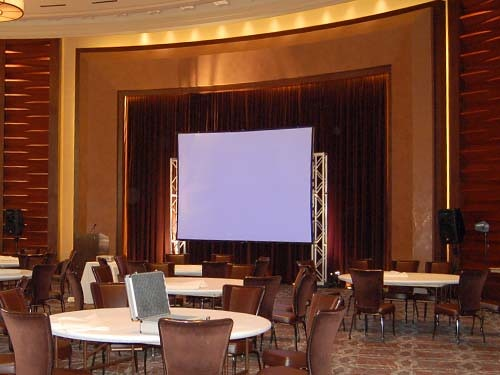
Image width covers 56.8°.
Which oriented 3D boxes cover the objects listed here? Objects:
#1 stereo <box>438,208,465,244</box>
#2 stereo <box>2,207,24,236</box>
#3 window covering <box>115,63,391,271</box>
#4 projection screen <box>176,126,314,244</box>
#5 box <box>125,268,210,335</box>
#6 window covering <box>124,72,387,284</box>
[{"bbox_3d":[3.947,0.765,9.052,0.479,0.724,0.406,2,3,16],"label":"stereo"},{"bbox_3d":[-5.989,0.894,11.754,0.441,0.685,0.239,2,3,20],"label":"stereo"},{"bbox_3d":[0.300,-0.620,11.382,5.275,3.955,0.241,-1,-3,14],"label":"window covering"},{"bbox_3d":[-0.204,-0.029,11.123,3.442,2.761,0.071,0,-1,17],"label":"projection screen"},{"bbox_3d":[-0.624,0.900,3.686,0.595,0.451,0.599,-2,-9,5],"label":"box"},{"bbox_3d":[0.395,-0.365,11.048,5.366,4.046,0.227,0,-2,12],"label":"window covering"}]
